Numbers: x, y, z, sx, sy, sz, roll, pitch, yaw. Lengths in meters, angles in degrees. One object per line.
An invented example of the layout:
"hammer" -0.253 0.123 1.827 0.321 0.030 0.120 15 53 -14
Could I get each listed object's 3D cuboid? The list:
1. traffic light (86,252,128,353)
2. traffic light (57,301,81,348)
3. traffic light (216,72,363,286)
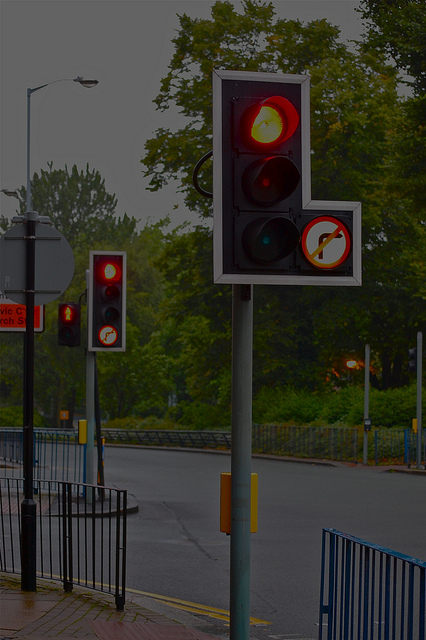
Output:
"traffic light" -1.470 -0.265 16.239 0.518 1.338 0.513 1 -1 -11
"traffic light" -2.252 0.051 18.456 0.323 0.679 0.591 1 -2 -6
"traffic light" 0.458 -0.838 7.209 0.863 1.422 0.400 2 -20 -1
